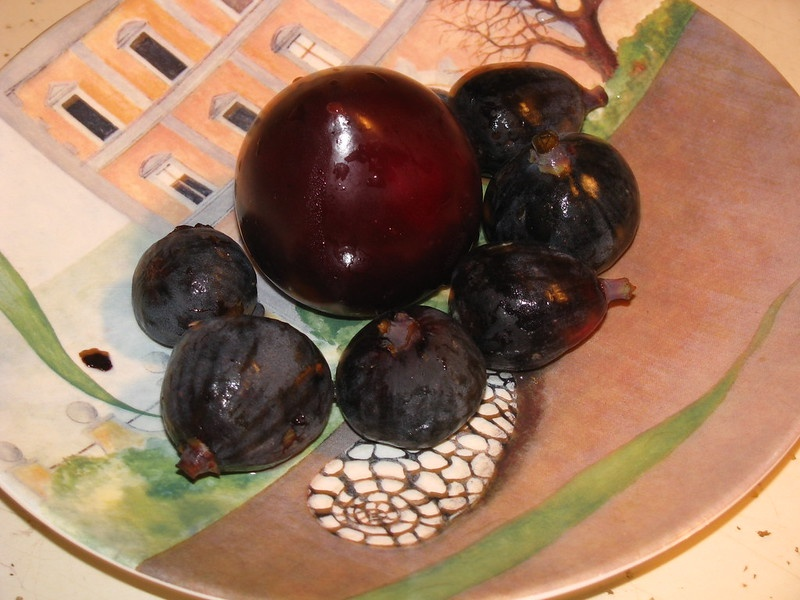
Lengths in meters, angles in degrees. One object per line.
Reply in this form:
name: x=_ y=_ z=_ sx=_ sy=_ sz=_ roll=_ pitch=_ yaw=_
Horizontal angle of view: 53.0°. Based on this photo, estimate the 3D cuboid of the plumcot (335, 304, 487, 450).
plumcot: x=0.011 y=0.096 z=0.989 sx=0.171 sy=0.157 sz=0.123 roll=30 pitch=36 yaw=18
